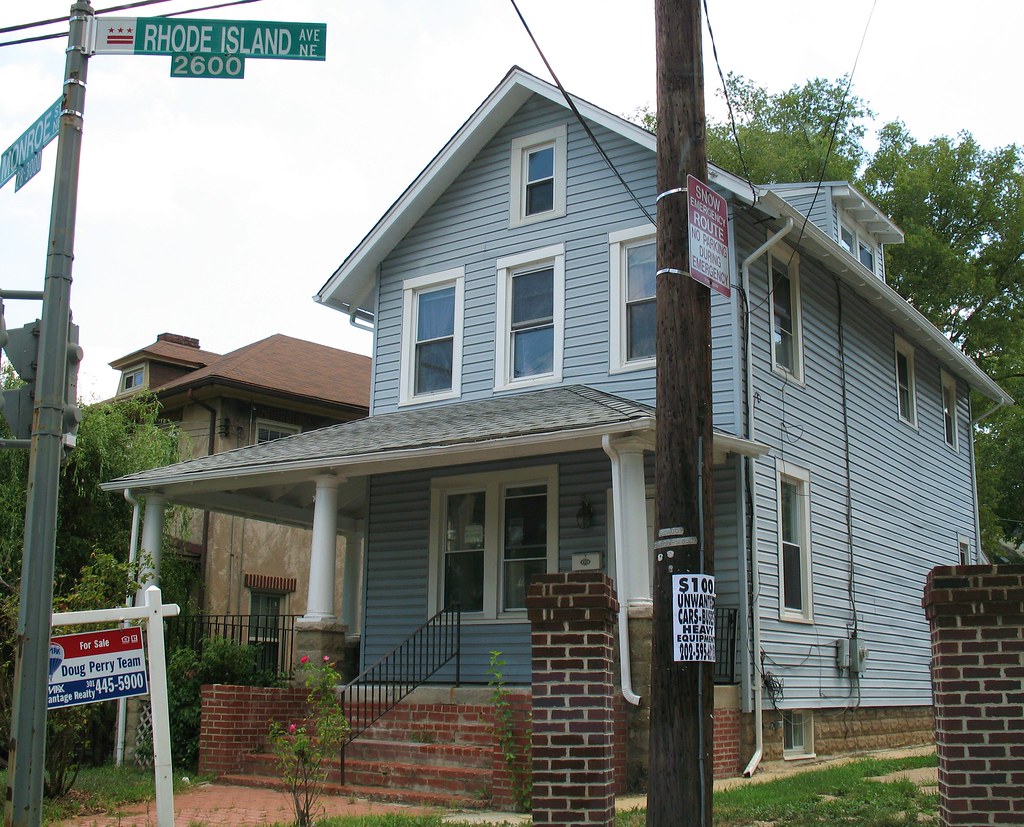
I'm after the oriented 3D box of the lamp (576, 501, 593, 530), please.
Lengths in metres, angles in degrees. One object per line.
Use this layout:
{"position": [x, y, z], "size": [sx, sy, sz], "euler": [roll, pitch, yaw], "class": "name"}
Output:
{"position": [1.082, 1.509, 15.463], "size": [0.281, 0.421, 0.148], "euler": [-5, -15, 16], "class": "lamp"}
